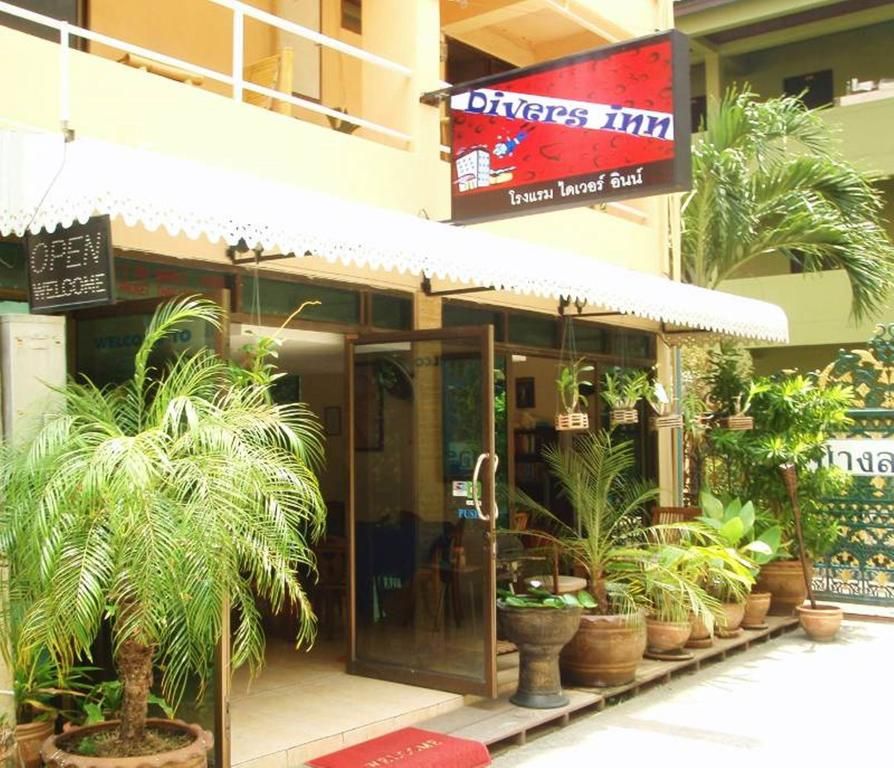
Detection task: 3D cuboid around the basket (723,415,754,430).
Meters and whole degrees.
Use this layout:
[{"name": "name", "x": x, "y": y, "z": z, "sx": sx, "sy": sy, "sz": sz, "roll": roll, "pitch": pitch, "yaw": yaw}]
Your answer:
[{"name": "basket", "x": 3.363, "y": 0.459, "z": 10.027, "sx": 0.197, "sy": 0.131, "sz": 0.203, "roll": 1, "pitch": -3, "yaw": 4}]

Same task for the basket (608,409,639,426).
[{"name": "basket", "x": 1.850, "y": 0.390, "z": 9.047, "sx": 0.341, "sy": 0.245, "sz": 0.169, "roll": -1, "pitch": 4, "yaw": 19}]
